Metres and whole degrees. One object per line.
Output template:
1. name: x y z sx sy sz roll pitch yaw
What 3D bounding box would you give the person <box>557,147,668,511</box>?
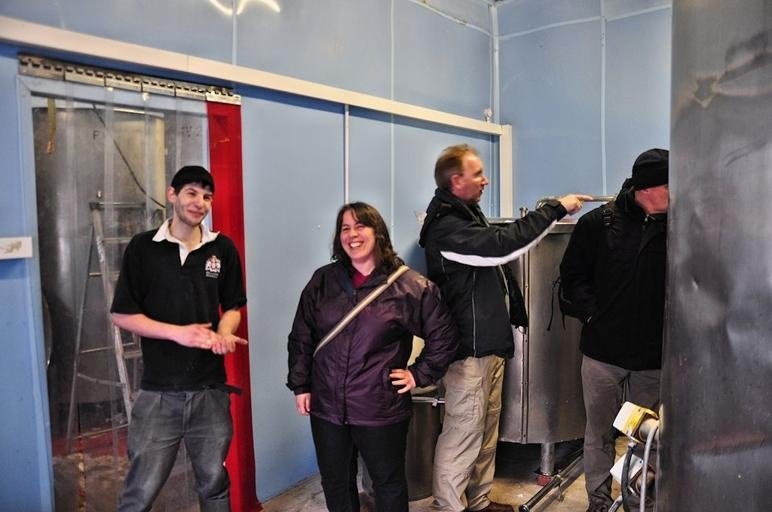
1. person: 1.317 0.464 3.865 0.644 2.089 0.327 -1 2 29

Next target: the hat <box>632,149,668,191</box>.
1. hat: 1.489 -0.483 3.713 0.203 0.226 0.274 -1 11 -4
